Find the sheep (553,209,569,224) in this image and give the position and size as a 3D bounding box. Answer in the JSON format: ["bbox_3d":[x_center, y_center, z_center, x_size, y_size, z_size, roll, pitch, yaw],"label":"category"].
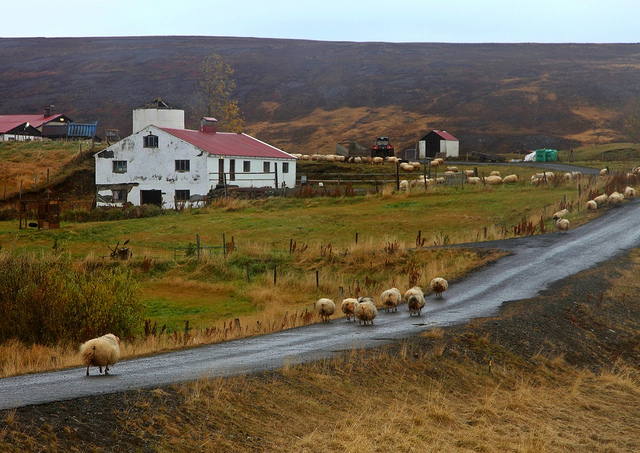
[{"bbox_3d":[14.658,-0.648,53.492,0.409,0.843,1.561,9,27,30],"label":"sheep"}]

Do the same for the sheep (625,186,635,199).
[{"bbox_3d":[21.280,-2.402,59.921,0.612,0.787,1.438,5,16,18],"label":"sheep"}]

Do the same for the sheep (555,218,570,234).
[{"bbox_3d":[14.299,-0.078,51.471,0.692,0.868,0.932,3,16,14],"label":"sheep"}]

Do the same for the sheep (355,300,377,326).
[{"bbox_3d":[1.961,3.734,37.331,0.840,1.056,0.630,-1,15,-1],"label":"sheep"}]

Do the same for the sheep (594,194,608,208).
[{"bbox_3d":[18.547,-1.709,57.490,0.522,0.797,1.437,9,18,32],"label":"sheep"}]

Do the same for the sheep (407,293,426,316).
[{"bbox_3d":[4.226,3.442,38.491,0.693,1.042,0.596,1,15,5],"label":"sheep"}]

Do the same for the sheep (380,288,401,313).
[{"bbox_3d":[3.186,3.235,39.555,0.611,0.836,1.207,1,1,10],"label":"sheep"}]

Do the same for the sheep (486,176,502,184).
[{"bbox_3d":[14.425,-3.931,71.343,1.422,0.827,0.502,-4,50,-7],"label":"sheep"}]

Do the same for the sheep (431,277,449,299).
[{"bbox_3d":[5.680,2.890,41.368,0.657,0.849,0.527,-5,16,-17],"label":"sheep"}]

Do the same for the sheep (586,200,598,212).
[{"bbox_3d":[17.549,-1.356,56.051,0.802,0.775,0.503,-5,16,-18],"label":"sheep"}]

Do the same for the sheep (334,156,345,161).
[{"bbox_3d":[2.153,-8.051,101.865,1.418,0.547,0.625,14,21,42],"label":"sheep"}]

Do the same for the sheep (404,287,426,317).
[{"bbox_3d":[4.232,3.388,38.656,0.719,1.156,0.894,-2,15,-8],"label":"sheep"}]

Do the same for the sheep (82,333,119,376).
[{"bbox_3d":[-8.006,4.685,31.639,0.931,1.268,2.022,0,-3,8],"label":"sheep"}]

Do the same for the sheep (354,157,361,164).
[{"bbox_3d":[4.285,-7.791,100.529,0.434,0.529,0.952,12,19,38],"label":"sheep"}]

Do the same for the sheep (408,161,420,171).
[{"bbox_3d":[10.074,-6.649,94.525,1.497,0.892,0.795,8,10,25],"label":"sheep"}]

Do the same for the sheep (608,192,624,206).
[{"bbox_3d":[19.460,-1.896,57.477,0.618,0.763,1.270,5,9,22],"label":"sheep"}]

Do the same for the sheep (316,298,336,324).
[{"bbox_3d":[0.216,3.720,38.767,0.795,1.057,0.644,4,16,15],"label":"sheep"}]

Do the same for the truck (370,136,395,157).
[{"bbox_3d":[7.681,-10.150,108.928,2.000,2.052,3.661,0,11,5],"label":"truck"}]
